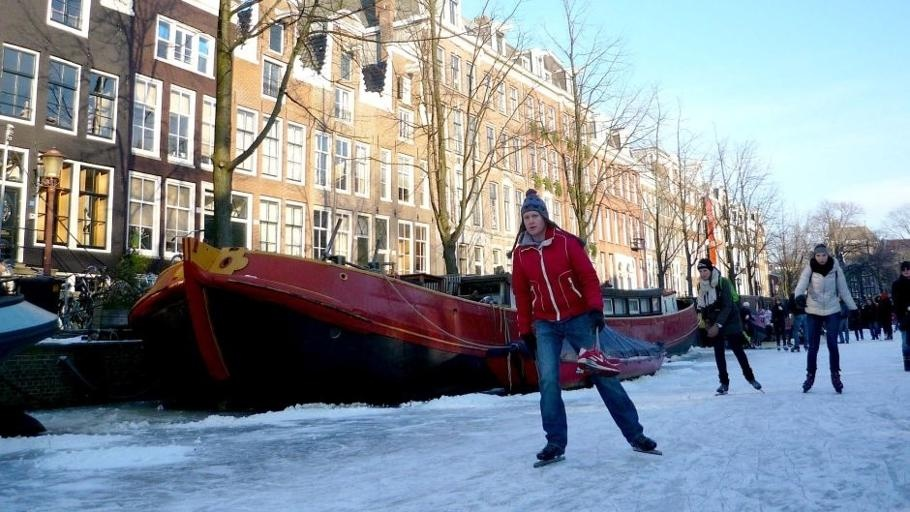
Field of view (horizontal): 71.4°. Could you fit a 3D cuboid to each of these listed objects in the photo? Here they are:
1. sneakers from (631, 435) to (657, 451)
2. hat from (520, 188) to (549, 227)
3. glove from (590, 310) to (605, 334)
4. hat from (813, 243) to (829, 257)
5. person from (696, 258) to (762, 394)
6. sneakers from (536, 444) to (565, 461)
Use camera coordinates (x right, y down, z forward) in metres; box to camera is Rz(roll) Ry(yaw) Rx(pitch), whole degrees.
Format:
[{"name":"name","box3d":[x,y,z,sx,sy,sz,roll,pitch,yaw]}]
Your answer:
[{"name":"sneakers","box3d":[2.400,2.361,8.062,0.300,0.145,0.167,8,5,7]},{"name":"hat","box3d":[1.086,-0.663,8.497,0.403,0.440,0.440,-4,-14,12]},{"name":"glove","box3d":[1.842,0.833,8.119,0.092,0.262,0.189,-3,3,-35]},{"name":"hat","box3d":[6.674,-0.122,11.525,0.225,0.196,0.249,0,-29,27]},{"name":"person","box3d":[5.225,1.338,12.179,0.946,2.428,0.744,-7,-7,8]},{"name":"sneakers","box3d":[1.194,2.460,7.990,0.417,0.187,0.142,7,-10,-19]}]
